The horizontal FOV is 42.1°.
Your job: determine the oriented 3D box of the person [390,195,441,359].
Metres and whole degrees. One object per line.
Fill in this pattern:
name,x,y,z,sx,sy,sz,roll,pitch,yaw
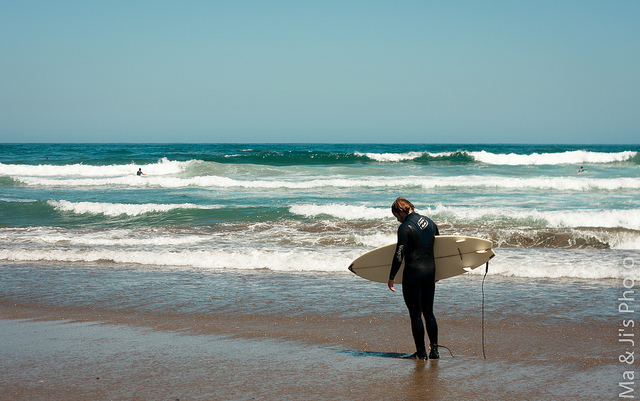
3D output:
person,1.923,1.587,16.705,0.985,3.227,0.805,0,18,4

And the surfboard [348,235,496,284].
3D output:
surfboard,1.954,1.191,16.723,3.430,0.787,0.366,-7,-6,-21
